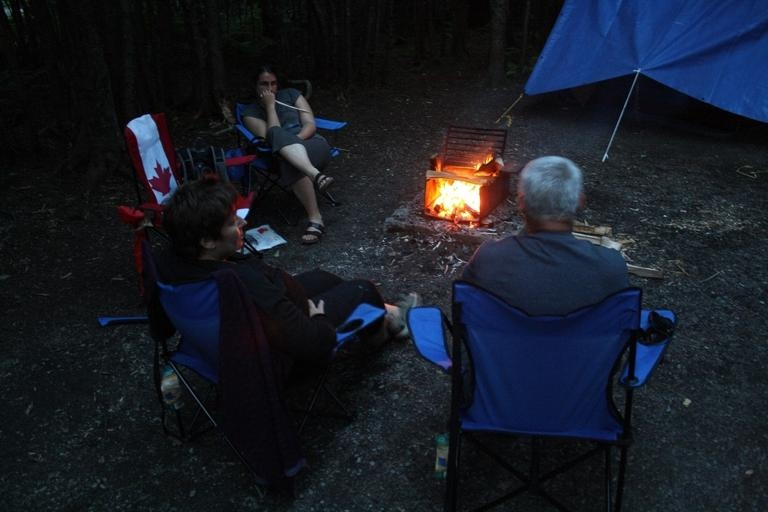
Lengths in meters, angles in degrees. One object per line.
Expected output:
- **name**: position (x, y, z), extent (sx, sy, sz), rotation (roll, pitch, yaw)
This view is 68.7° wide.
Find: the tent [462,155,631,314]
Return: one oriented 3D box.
- **tent**: position (0.949, -0.093, 3.163), extent (0.844, 0.700, 0.750), rotation (21, 34, 31)
